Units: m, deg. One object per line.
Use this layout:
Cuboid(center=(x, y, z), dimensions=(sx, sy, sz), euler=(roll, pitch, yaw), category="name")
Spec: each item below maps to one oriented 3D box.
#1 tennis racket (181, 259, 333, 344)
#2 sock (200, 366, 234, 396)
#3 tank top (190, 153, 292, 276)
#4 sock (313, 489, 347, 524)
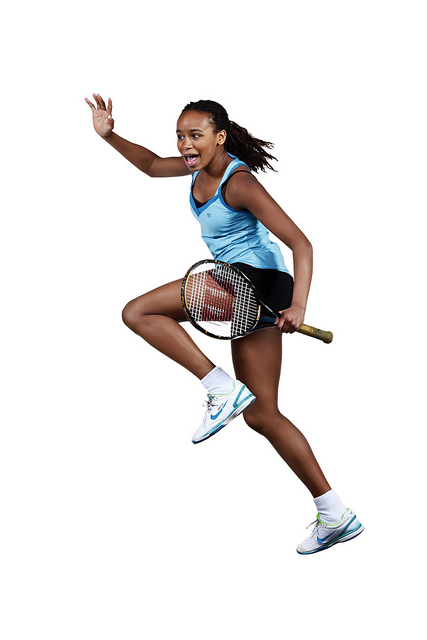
Cuboid(center=(0.231, -0.025, 2.931), dimensions=(0.942, 0.092, 0.382), euler=(16, -113, -30), category="tennis racket")
Cuboid(center=(0.013, 0.296, 2.867), dimensions=(0.126, 0.107, 0.104), euler=(-37, -64, 7), category="sock")
Cuboid(center=(0.122, -0.385, 3.025), dimensions=(0.291, 0.302, 0.567), euler=(-44, -64, 10), category="tank top")
Cuboid(center=(0.600, 0.971, 3.152), dimensions=(0.144, 0.103, 0.153), euler=(-25, -63, 1), category="sock")
